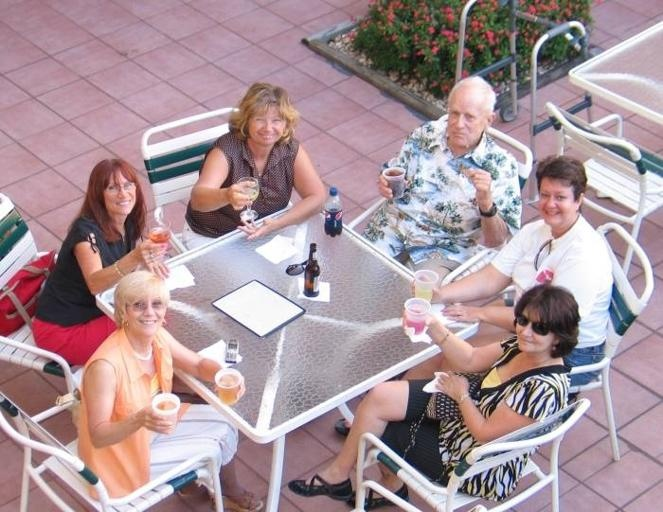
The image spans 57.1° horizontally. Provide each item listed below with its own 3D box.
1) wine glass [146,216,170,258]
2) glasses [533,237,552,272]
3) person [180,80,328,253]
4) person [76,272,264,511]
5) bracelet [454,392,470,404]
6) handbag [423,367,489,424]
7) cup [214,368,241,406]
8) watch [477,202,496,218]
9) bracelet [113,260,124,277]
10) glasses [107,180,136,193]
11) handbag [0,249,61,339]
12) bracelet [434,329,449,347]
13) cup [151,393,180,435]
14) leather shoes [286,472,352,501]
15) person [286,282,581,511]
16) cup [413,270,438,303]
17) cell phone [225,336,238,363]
[{"bbox_3d":[-0.847,-0.079,2.984,0.095,0.179,0.213,-4,44,-16],"label":"wine glass"},{"bbox_3d":[1.069,0.002,3.136,0.037,0.136,0.096,22,8,10],"label":"glasses"},{"bbox_3d":[-0.427,-0.409,3.508,0.699,0.882,0.712,38,48,26],"label":"person"},{"bbox_3d":[-0.688,0.579,2.641,0.757,1.077,0.617,-3,45,-7],"label":"person"},{"bbox_3d":[0.564,0.613,2.612,0.045,0.018,0.038,-17,7,32],"label":"bracelet"},{"bbox_3d":[0.564,0.657,2.788,0.102,0.280,0.206,-4,82,-53],"label":"handbag"},{"bbox_3d":[-0.411,0.512,2.434,0.123,0.096,0.127,2,46,-3],"label":"cup"},{"bbox_3d":[0.866,-0.253,3.401,0.083,0.045,0.084,1,41,35],"label":"watch"},{"bbox_3d":[-1.022,0.064,2.948,0.015,0.068,0.065,-28,88,-6],"label":"bracelet"},{"bbox_3d":[-1.062,-0.346,3.078,0.073,0.074,0.024,4,47,-26],"label":"glasses"},{"bbox_3d":[-1.597,0.223,3.214,0.183,0.297,0.354,33,51,2],"label":"handbag"},{"bbox_3d":[0.486,0.372,2.727,0.043,0.058,0.057,24,39,-16],"label":"bracelet"},{"bbox_3d":[-0.649,0.604,2.382,0.101,0.158,0.153,11,42,0],"label":"cup"},{"bbox_3d":[-0.050,1.142,3.050,0.323,0.137,0.129,7,29,5],"label":"leather shoes"},{"bbox_3d":[0.462,0.624,2.737,0.842,1.026,0.454,22,37,-4],"label":"person"},{"bbox_3d":[0.424,0.141,2.905,0.131,0.135,0.134,3,20,-1],"label":"cup"},{"bbox_3d":[-0.436,0.405,2.610,0.050,0.032,0.097,1,59,-6],"label":"cell phone"}]
